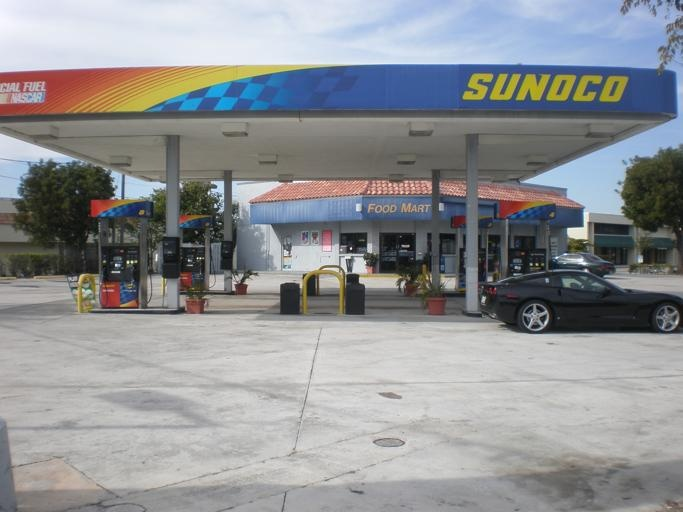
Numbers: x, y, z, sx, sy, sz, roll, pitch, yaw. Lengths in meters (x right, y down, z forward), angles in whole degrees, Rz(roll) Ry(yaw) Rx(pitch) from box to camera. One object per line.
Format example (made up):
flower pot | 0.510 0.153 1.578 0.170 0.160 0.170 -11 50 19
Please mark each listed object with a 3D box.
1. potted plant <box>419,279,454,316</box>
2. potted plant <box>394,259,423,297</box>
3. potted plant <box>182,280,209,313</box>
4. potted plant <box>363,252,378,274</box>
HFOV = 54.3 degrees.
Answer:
potted plant | 2.555 1.111 17.902 0.932 0.902 0.878 0 -1 5
potted plant | 2.667 0.784 24.801 1.198 1.313 1.244 -1 9 23
potted plant | -4.173 1.153 19.003 0.861 0.963 0.794 1 -4 4
potted plant | 1.717 0.403 39.337 1.173 1.177 1.075 0 3 -40
